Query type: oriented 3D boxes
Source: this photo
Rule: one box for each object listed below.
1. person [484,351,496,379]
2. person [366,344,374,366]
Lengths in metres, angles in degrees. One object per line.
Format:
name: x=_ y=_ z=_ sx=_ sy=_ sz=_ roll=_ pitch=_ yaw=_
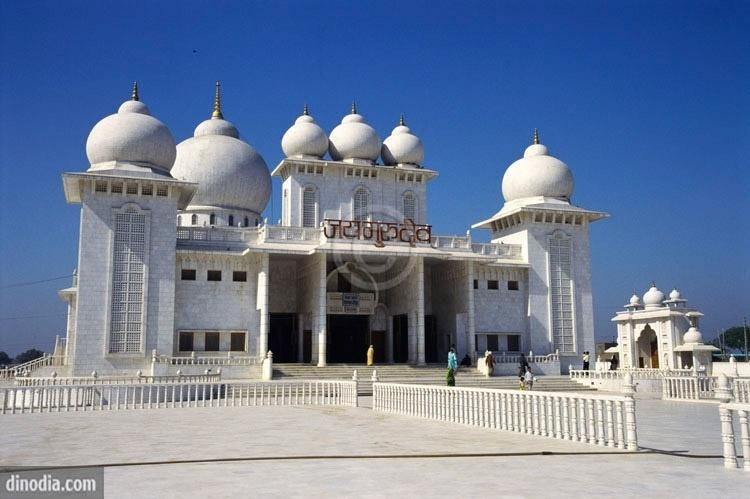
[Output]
person: x=6.219 y=6.195 z=43.042 sx=0.510 sy=1.388 sz=1.389 roll=-2 pitch=-11 yaw=8
person: x=-0.283 y=5.652 z=42.094 sx=0.290 sy=0.990 sz=0.649 roll=-2 pitch=-11 yaw=7
